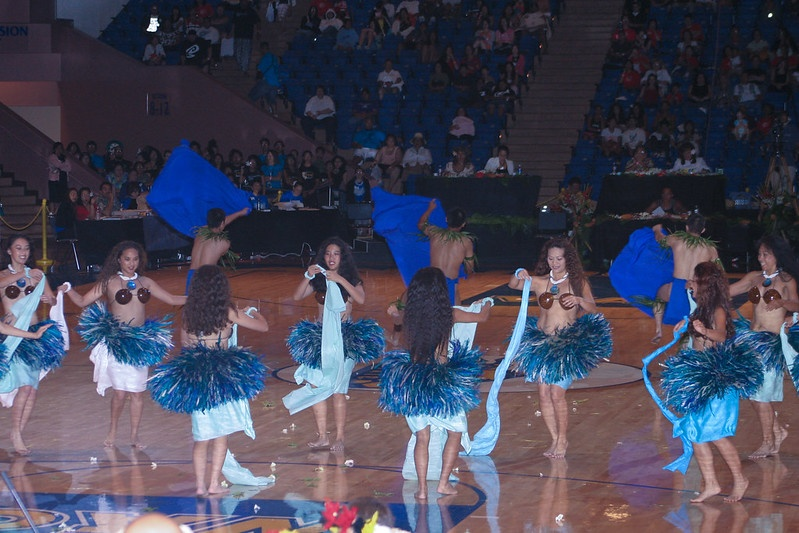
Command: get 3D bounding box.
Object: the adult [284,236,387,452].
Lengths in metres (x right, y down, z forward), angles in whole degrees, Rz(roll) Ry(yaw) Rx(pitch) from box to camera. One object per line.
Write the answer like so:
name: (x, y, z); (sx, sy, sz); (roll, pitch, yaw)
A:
adult: (-0.514, 0.600, 6.900); (0.768, 1.644, 0.423); (1, 6, -2)

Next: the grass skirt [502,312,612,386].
grass skirt: (1.265, 0.618, 6.694); (0.591, 0.298, 0.577); (-15, 24, -20)

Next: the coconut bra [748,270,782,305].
coconut bra: (2.785, 0.173, 6.694); (0.206, 0.248, 0.245); (9, 48, 33)

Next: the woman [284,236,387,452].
woman: (-0.515, 0.600, 6.898); (0.766, 1.644, 0.416); (2, 6, -1)

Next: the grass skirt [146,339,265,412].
grass skirt: (-1.300, 0.671, 6.019); (0.562, 0.303, 0.565); (2, 7, 39)

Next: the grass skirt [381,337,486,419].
grass skirt: (-0.027, 0.810, 6.269); (1.016, 0.507, 0.994); (3, -5, -18)

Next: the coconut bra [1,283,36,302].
coconut bra: (-2.944, 0.203, 6.827); (0.205, 0.111, 0.144); (4, 5, 25)

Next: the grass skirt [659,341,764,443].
grass skirt: (2.112, 0.840, 6.055); (0.693, 0.691, 0.659); (-18, 15, 19)
